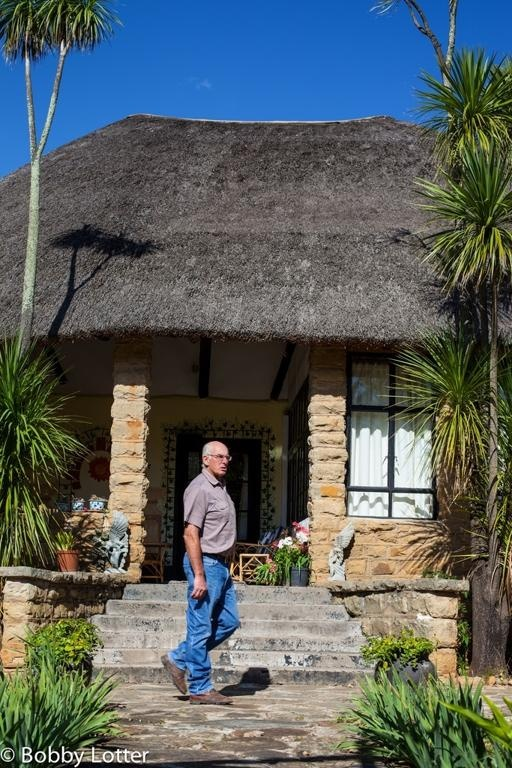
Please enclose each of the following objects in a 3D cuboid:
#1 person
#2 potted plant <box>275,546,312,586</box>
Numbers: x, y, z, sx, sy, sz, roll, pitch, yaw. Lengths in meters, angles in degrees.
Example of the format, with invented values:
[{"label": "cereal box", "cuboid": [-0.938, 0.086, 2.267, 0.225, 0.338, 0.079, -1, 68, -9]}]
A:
[{"label": "person", "cuboid": [-0.365, 1.172, 4.697, 0.388, 1.652, 0.542, -4, -10, 23]}, {"label": "potted plant", "cuboid": [0.391, 2.069, 8.543, 0.410, 0.422, 0.401, 7, -14, -43]}]
